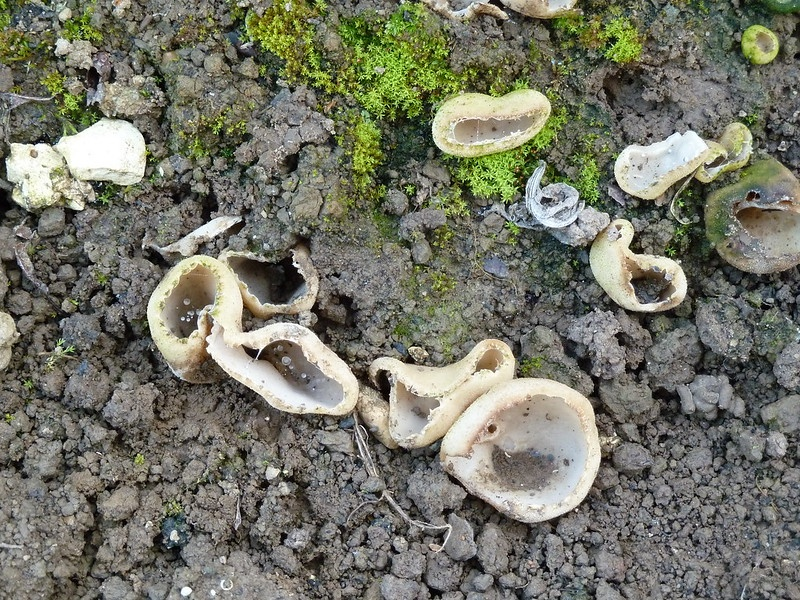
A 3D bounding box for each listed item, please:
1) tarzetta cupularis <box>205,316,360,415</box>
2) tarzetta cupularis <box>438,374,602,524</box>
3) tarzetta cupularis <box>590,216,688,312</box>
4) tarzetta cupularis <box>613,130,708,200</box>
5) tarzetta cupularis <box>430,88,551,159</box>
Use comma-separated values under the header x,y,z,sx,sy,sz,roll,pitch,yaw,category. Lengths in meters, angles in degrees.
x,y,z,sx,sy,sz,roll,pitch,yaw,category
-0.826,0.474,6.371,1.143,0.410,0.578,31,75,8,tarzetta cupularis
0.893,1.038,6.331,1.088,0.420,0.963,27,75,6,tarzetta cupularis
1.729,-0.216,6.588,0.708,0.322,0.585,43,96,-5,tarzetta cupularis
1.895,-1.026,6.413,0.613,0.412,0.410,-18,73,-6,tarzetta cupularis
0.674,-1.307,6.515,0.869,0.368,0.389,-6,72,-3,tarzetta cupularis
